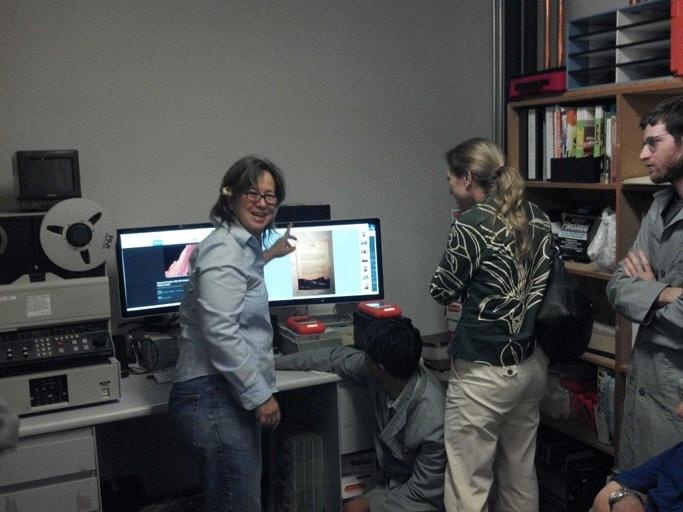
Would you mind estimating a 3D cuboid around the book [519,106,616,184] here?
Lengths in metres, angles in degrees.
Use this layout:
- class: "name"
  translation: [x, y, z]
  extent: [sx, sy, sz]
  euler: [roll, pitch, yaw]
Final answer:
- class: "book"
  translation: [1.230, -0.592, 2.852]
  extent: [0.218, 0.532, 0.545]
  euler: [-1, 0, -43]

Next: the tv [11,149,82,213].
- class: "tv"
  translation: [-1.263, -0.295, 2.317]
  extent: [0.269, 0.280, 0.259]
  euler: [-3, 1, -32]

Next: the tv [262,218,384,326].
- class: "tv"
  translation: [-0.089, 0.067, 2.697]
  extent: [0.512, 0.356, 0.137]
  euler: [-5, 3, -6]

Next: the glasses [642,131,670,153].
- class: "glasses"
  translation: [1.199, -0.429, 2.053]
  extent: [0.033, 0.068, 0.101]
  euler: [-6, 7, -17]

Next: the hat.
- class: "hat"
  translation: [0.200, 0.387, 2.386]
  extent: [0.205, 0.245, 0.259]
  euler: [0, 12, -17]

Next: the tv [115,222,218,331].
- class: "tv"
  translation: [-0.771, 0.079, 2.354]
  extent: [0.494, 0.368, 0.047]
  euler: [-7, 7, -15]
